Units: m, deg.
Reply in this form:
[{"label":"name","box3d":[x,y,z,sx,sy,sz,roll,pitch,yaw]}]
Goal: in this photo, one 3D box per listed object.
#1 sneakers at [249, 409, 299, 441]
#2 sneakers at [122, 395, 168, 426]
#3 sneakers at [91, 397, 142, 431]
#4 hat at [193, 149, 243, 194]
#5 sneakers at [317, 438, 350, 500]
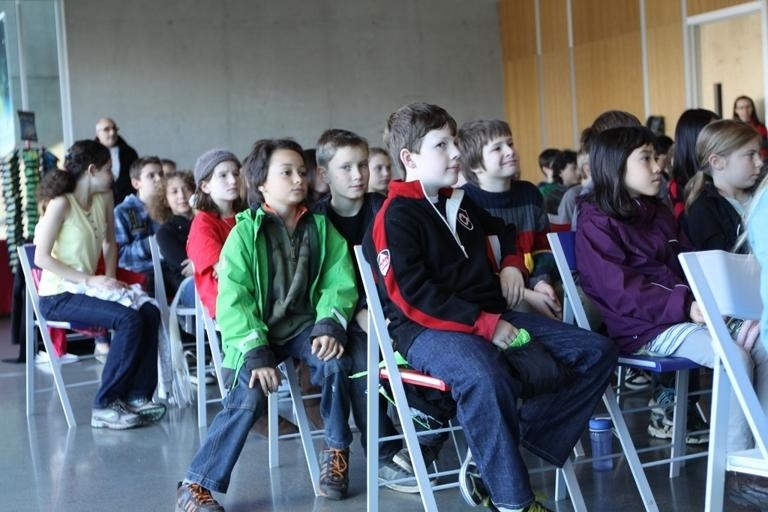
[{"label":"sneakers","box3d":[-0.609,0.931,3.724,0.310,0.135,0.236,9,3,-12]},{"label":"sneakers","box3d":[-1.502,0.976,4.118,0.308,0.117,0.141,14,21,4]},{"label":"sneakers","box3d":[-1.670,0.993,4.024,0.270,0.179,0.147,0,-1,1]},{"label":"hat","box3d":[-1.082,-0.573,4.018,0.276,0.226,0.214,-38,-3,8]},{"label":"sneakers","box3d":[-0.241,1.041,3.024,0.097,0.137,0.289,1,-3,-10]}]
